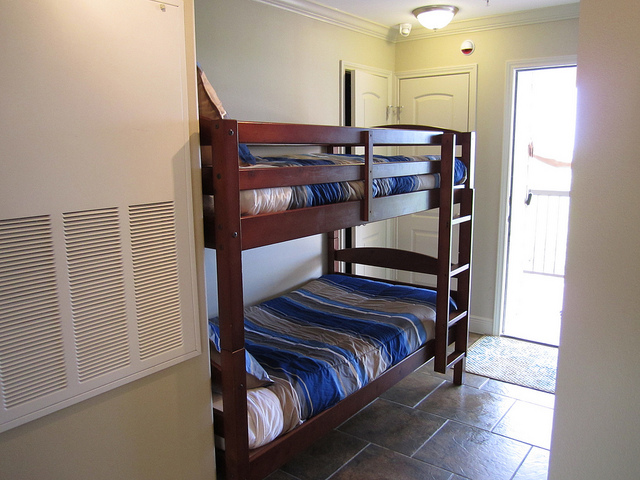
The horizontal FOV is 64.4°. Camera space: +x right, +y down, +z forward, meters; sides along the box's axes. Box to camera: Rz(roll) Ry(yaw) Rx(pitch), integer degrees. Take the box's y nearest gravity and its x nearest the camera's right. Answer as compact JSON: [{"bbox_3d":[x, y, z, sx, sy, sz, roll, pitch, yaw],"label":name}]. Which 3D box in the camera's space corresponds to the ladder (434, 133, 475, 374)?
[{"bbox_3d":[0.934,0.182,3.521,0.107,1.573,0.361,10,15,41],"label":"ladder"}]

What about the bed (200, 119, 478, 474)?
[{"bbox_3d":[0.137,0.365,2.875,1.105,1.715,1.894,5,10,36],"label":"bed"}]

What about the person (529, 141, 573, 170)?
[{"bbox_3d":[2.445,-0.873,5.361,0.377,0.346,1.279,5,14,25],"label":"person"}]

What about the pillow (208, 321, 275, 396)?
[{"bbox_3d":[-0.431,0.592,2.381,0.265,0.314,0.306,9,9,32],"label":"pillow"}]

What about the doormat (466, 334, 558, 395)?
[{"bbox_3d":[1.547,0.951,4.083,0.719,0.035,0.832,7,15,32],"label":"doormat"}]
